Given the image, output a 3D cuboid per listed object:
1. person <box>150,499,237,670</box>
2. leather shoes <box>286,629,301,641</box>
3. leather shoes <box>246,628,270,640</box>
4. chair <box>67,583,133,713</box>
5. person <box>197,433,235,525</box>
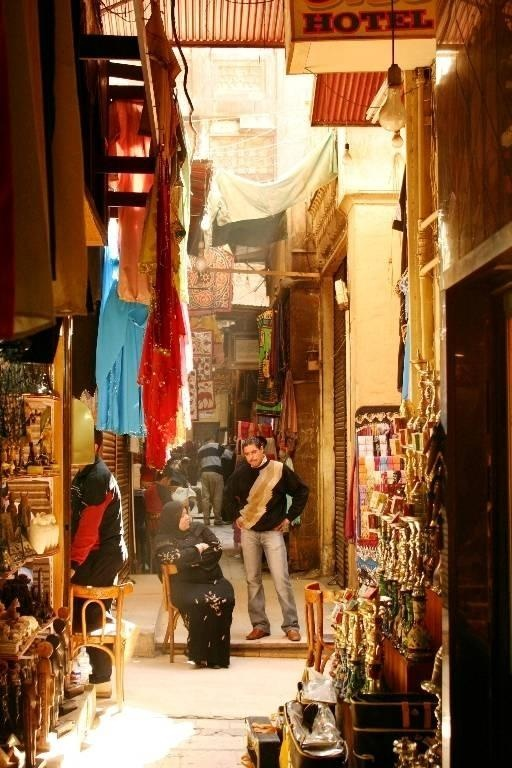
[{"bbox_3d":[-0.629,1.948,7.136,0.651,2.156,0.838,6,-39,-21],"label":"person"},{"bbox_3d":[0.344,2.313,6.883,0.132,0.078,0.202,0,-5,0],"label":"leather shoes"},{"bbox_3d":[0.020,2.303,6.909,0.076,0.133,0.256,-10,-14,26],"label":"leather shoes"},{"bbox_3d":[-1.141,1.858,5.321,0.324,0.883,0.401,3,-8,-18],"label":"chair"},{"bbox_3d":[-0.877,1.806,15.094,0.518,1.947,0.531,5,24,10],"label":"person"}]
